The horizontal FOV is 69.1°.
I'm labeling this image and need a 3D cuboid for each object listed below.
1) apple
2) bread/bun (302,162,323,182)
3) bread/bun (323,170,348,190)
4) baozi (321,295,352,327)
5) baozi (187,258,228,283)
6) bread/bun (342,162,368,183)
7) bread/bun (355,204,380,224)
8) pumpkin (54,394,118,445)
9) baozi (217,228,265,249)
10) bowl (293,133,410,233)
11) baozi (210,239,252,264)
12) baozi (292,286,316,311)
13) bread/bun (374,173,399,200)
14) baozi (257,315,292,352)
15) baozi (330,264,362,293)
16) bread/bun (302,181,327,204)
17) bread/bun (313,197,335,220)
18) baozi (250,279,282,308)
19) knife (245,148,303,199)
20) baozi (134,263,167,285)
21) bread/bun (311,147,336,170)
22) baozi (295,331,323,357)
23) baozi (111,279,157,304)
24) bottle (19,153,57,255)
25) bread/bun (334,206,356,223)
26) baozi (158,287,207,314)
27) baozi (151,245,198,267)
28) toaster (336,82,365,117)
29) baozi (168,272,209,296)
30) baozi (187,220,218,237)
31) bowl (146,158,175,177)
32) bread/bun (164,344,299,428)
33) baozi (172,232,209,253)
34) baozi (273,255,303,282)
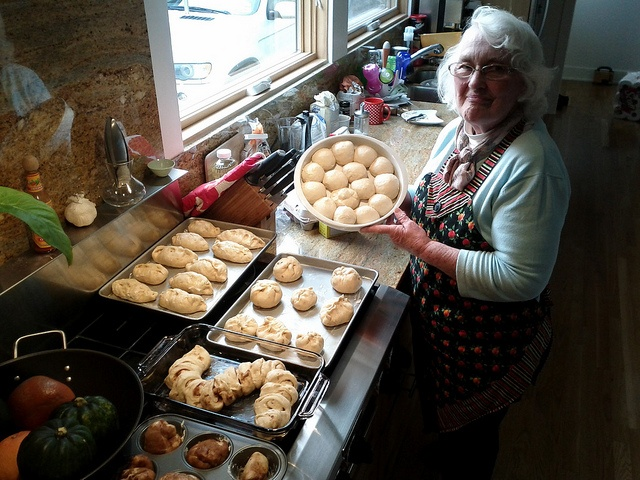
[{"bbox_3d":[-0.652,0.370,1.126,0.109,0.123,0.121,-9,34,-12],"label":"apple"},{"bbox_3d":[-0.029,-0.264,1.859,0.093,0.056,0.084,-1,35,0],"label":"bread/bun"},{"bbox_3d":[0.063,-0.224,1.856,0.074,0.044,0.082,-2,65,-7],"label":"bread/bun"},{"bbox_3d":[0.055,0.233,1.546,0.103,0.060,0.145,9,32,20],"label":"baozi"},{"bbox_3d":[-0.392,0.088,1.643,0.112,0.044,0.085,17,38,13],"label":"baozi"},{"bbox_3d":[0.143,-0.276,1.868,0.079,0.045,0.088,-21,70,-8],"label":"bread/bun"},{"bbox_3d":[0.177,-0.100,1.762,0.074,0.044,0.063,-17,27,-23],"label":"bread/bun"},{"bbox_3d":[-0.512,0.394,1.048,0.103,0.104,0.108,7,20,4],"label":"pumpkin"},{"bbox_3d":[-0.295,-0.007,1.757,0.138,0.045,0.084,15,34,-3],"label":"baozi"},{"bbox_3d":[0.127,-0.299,1.972,0.406,0.085,0.435,1,77,-4],"label":"bowl"},{"bbox_3d":[-0.316,0.044,1.697,0.124,0.036,0.076,21,47,0],"label":"baozi"},{"bbox_3d":[-0.052,0.201,1.590,0.090,0.048,0.072,-20,39,-25],"label":"baozi"},{"bbox_3d":[0.263,-0.215,1.820,0.089,0.049,0.099,-11,70,-13],"label":"bread/bun"},{"bbox_3d":[-0.133,0.303,1.472,0.099,0.039,0.078,2,10,14],"label":"baozi"},{"bbox_3d":[0.097,0.138,1.652,0.104,0.062,0.110,19,39,25],"label":"baozi"},{"bbox_3d":[-0.021,-0.191,1.810,0.081,0.046,0.087,-1,71,-15],"label":"bread/bun"},{"bbox_3d":[0.018,-0.132,1.784,0.078,0.029,0.076,36,68,15],"label":"bread/bun"},{"bbox_3d":[-0.187,0.184,1.600,0.102,0.063,0.097,11,36,16],"label":"baozi"},{"bbox_3d":[-0.192,-0.274,1.853,0.215,0.174,0.168,33,35,28],"label":"knife"},{"bbox_3d":[-0.582,0.111,1.598,0.090,0.029,0.070,15,51,7],"label":"baozi"},{"bbox_3d":[0.017,-0.330,1.934,0.075,0.031,0.090,-18,72,-1],"label":"bread/bun"},{"bbox_3d":[-0.033,0.320,1.435,0.090,0.047,0.070,-2,35,-1],"label":"baozi"},{"bbox_3d":[-0.608,0.168,1.511,0.120,0.038,0.075,16,43,3],"label":"baozi"},{"bbox_3d":[-0.771,-0.106,1.387,0.059,0.294,0.153,-4,27,-15],"label":"bottle"},{"bbox_3d":[0.095,-0.094,1.762,0.062,0.037,0.067,23,49,10],"label":"bread/bun"},{"bbox_3d":[-0.443,0.198,1.496,0.130,0.043,0.076,8,40,2],"label":"baozi"},{"bbox_3d":[-0.521,0.056,1.670,0.140,0.045,0.078,9,51,8],"label":"baozi"},{"bbox_3d":[0.206,-0.934,3.085,0.190,0.224,0.176,-32,51,-28],"label":"toaster"},{"bbox_3d":[-0.439,0.147,1.566,0.117,0.040,0.071,17,43,3],"label":"baozi"},{"bbox_3d":[-0.448,-0.046,1.811,0.093,0.030,0.069,26,37,9],"label":"baozi"},{"bbox_3d":[-0.599,-0.275,1.732,0.069,0.033,0.074,1,51,-1],"label":"bowl"},{"bbox_3d":[-0.250,0.406,1.295,0.381,0.087,0.236,10,36,14],"label":"bread/bun"},{"bbox_3d":[-0.479,-0.004,1.737,0.119,0.038,0.068,15,18,14],"label":"baozi"},{"bbox_3d":[-0.119,0.102,1.705,0.107,0.061,0.110,0,35,1],"label":"baozi"}]
